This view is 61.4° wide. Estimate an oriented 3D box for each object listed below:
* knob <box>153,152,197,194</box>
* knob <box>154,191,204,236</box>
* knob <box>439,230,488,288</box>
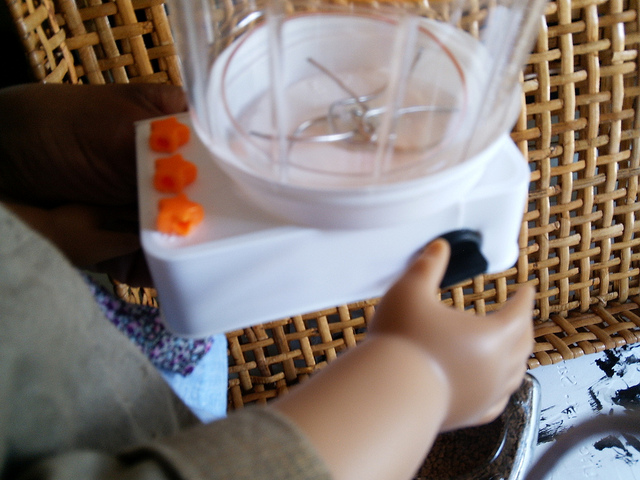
[{"bbox_3d":[-0.135,-0.060,0.500,0.035,0.027,0.037,24,37,-9],"label":"knob"},{"bbox_3d":[-0.122,-0.022,0.471,0.036,0.013,0.037,-40,89,-12],"label":"knob"},{"bbox_3d":[0.136,0.018,0.503,0.052,0.018,0.051,-9,86,-3],"label":"knob"}]
